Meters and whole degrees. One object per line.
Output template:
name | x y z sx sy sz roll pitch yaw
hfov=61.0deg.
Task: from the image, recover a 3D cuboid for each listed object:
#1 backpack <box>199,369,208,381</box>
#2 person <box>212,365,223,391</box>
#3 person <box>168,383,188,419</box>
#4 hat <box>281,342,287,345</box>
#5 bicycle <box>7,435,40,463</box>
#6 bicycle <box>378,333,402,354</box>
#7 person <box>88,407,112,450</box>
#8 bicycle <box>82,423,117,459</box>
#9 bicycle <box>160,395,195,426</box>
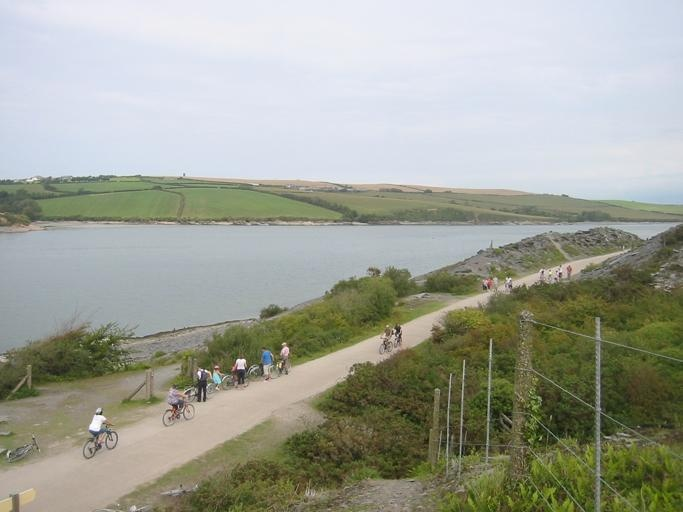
backpack | -6.552 5.611 27.391 0.206 0.567 0.409 5 13 42
person | -6.227 5.997 28.929 0.474 1.378 0.996 -4 10 -4
person | -7.292 6.243 25.626 0.768 1.303 1.022 -6 10 -15
hat | -3.238 4.937 32.433 0.384 0.115 0.389 1 -4 -14
bicycle | -12.693 7.649 22.885 1.105 0.633 0.706 -25 -22 -44
bicycle | 2.897 5.233 34.131 0.688 0.832 1.430 -7 -8 35
person | -9.627 6.731 22.884 0.667 1.367 0.778 -9 11 -26
bicycle | -9.791 7.309 23.235 0.830 1.009 1.704 5 14 32
bicycle | -7.264 6.792 25.770 1.632 0.964 0.793 -10 8 -42
